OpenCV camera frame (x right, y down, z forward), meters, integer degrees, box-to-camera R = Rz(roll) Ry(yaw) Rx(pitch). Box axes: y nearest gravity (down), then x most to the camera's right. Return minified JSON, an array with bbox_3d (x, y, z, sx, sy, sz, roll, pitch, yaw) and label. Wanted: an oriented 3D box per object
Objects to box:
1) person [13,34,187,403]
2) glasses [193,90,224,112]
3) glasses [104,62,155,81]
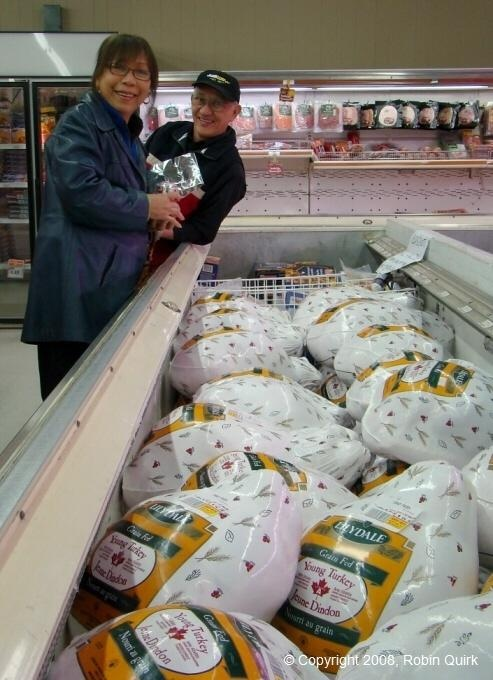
[{"bbox_3d":[-0.423,-0.428,1.315,0.442,0.883,0.256,-7,12,-37],"label":"person"},{"bbox_3d":[-0.166,-0.955,1.841,0.084,0.047,0.113,13,12,3],"label":"glasses"},{"bbox_3d":[-0.335,-0.759,1.279,0.116,0.039,0.029,-4,10,-24],"label":"glasses"}]
